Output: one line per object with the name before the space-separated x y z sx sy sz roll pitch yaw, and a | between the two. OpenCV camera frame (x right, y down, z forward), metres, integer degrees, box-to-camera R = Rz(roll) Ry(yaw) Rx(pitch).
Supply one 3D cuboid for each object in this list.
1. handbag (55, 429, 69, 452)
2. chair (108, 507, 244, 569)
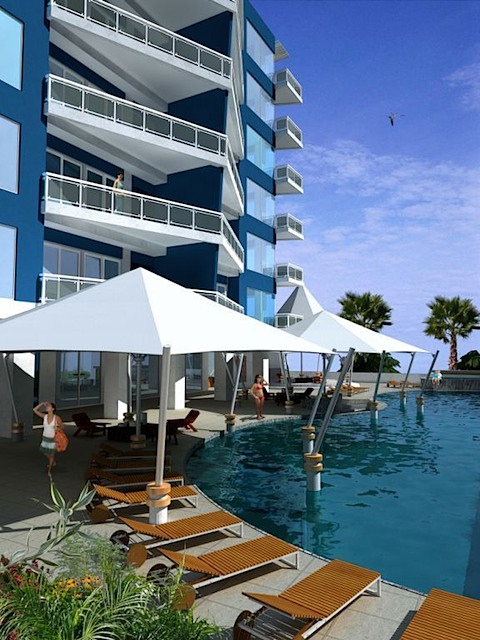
handbag | -3.552 2.395 10.257 0.206 0.471 0.307 3 -2 -13
chair | -0.758 2.763 6.752 1.731 0.542 0.663 -7 4 -30
